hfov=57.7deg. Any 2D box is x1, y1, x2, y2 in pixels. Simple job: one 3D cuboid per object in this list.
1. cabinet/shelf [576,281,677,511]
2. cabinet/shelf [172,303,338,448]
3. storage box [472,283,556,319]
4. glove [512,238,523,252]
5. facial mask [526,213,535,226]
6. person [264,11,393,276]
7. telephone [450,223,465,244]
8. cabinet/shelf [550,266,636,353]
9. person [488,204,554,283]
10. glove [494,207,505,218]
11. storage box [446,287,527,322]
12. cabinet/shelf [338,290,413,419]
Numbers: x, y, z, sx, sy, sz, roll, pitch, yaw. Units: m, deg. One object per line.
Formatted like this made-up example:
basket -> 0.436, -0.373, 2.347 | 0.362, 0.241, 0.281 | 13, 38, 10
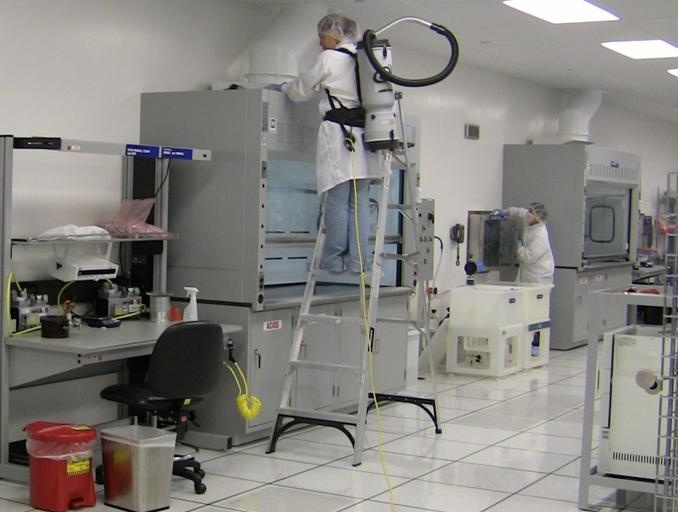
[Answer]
cabinet/shelf -> 1.610, 0.803, 3.487 | 0.418, 1.232, 0.577 | 3, 3, 26
cabinet/shelf -> -0.655, 0.711, 4.922 | 0.837, 1.367, 1.176 | 3, 3, 31
storage box -> 2.078, 0.503, 6.984 | 0.544, 0.343, 0.545 | -1, 0, 37
glove -> 2.298, -0.133, 7.867 | 0.152, 0.139, 0.142 | -1, 5, 32
facial mask -> 2.346, -0.446, 7.483 | 0.103, 0.121, 0.135 | 12, -27, 33
person -> -0.014, -0.785, 4.257 | 0.628, 1.822, 0.374 | 2, 3, 1
telephone -> 1.422, -0.259, 7.344 | 0.183, 0.351, 0.250 | 1, 1, 25
cabinet/shelf -> 2.312, 0.508, 5.826 | 0.342, 0.899, 1.021 | 3, 5, 41
person -> 2.281, -0.162, 7.607 | 0.496, 0.964, 0.631 | 0, 3, -28
glove -> 2.019, -0.543, 7.754 | 0.126, 0.089, 0.218 | 1, 10, 18
storage box -> 1.565, 0.527, 6.578 | 0.462, 0.295, 0.467 | -1, 0, 31
cabinet/shelf -> 0.273, 0.792, 4.955 | 0.417, 1.031, 1.077 | -1, -1, 28
